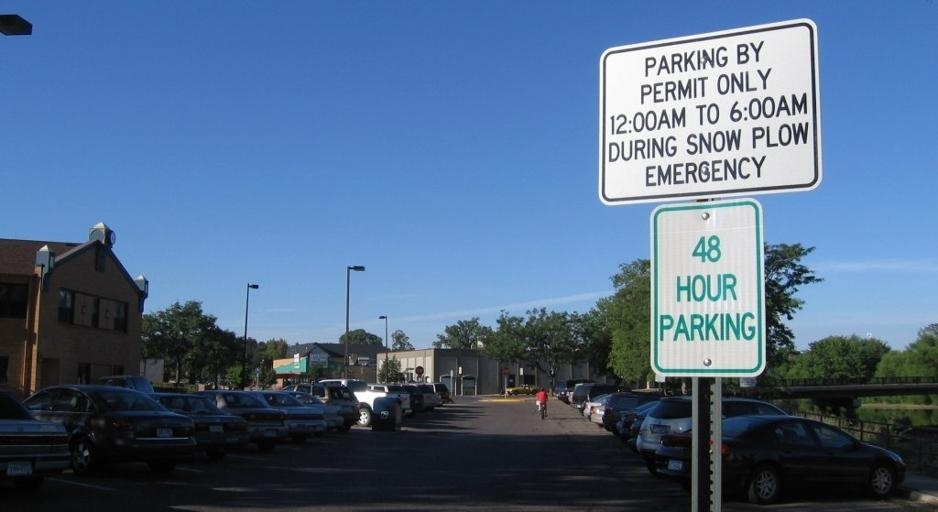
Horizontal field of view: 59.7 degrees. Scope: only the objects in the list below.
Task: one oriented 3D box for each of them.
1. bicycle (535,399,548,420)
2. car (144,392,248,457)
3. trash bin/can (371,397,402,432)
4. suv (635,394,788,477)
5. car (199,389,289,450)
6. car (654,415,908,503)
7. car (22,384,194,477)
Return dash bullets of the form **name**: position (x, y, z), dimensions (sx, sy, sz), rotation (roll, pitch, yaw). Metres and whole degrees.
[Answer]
- **bicycle**: position (4.828, 10.104, 53.473), dimensions (1.046, 1.245, 2.024), rotation (-1, -7, 0)
- **car**: position (-9.473, 6.005, 29.167), dimensions (5.560, 1.958, 2.320), rotation (-7, -12, 34)
- **trash bin/can**: position (-4.753, 8.183, 42.248), dimensions (1.599, 1.615, 2.972), rotation (3, -7, -7)
- **suv**: position (8.655, 6.493, 28.700), dimensions (6.365, 2.156, 2.899), rotation (1, -4, -31)
- **car**: position (-8.366, 6.362, 31.974), dimensions (4.014, 1.369, 1.778), rotation (-2, -6, 43)
- **car**: position (10.149, 6.607, 25.059), dimensions (8.697, 3.136, 3.559), rotation (1, -6, -12)
- **car**: position (-11.288, 5.354, 25.761), dimensions (6.699, 2.468, 2.644), rotation (-5, -9, 30)
